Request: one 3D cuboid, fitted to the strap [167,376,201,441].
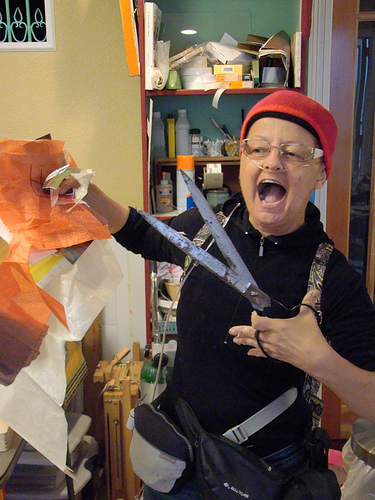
[{"bbox_3d":[-0.009,0.382,1.056,0.058,0.089,0.059,-4,16,-23],"label":"strap"}]

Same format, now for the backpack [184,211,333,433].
[{"bbox_3d":[0.155,0.171,0.966,0.116,0.496,0.368,-10,14,-40],"label":"backpack"}]

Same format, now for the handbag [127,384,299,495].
[{"bbox_3d":[0.048,0.396,1.048,0.364,0.153,0.217,-29,8,-4],"label":"handbag"}]

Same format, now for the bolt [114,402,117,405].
[{"bbox_3d":[-0.298,0.634,1.827,0.013,0.014,0.013,5,-7,-33],"label":"bolt"}]

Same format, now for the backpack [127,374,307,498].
[{"bbox_3d":[0.065,0.372,1.053,0.419,0.186,0.277,-26,-10,-16],"label":"backpack"}]

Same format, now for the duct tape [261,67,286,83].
[{"bbox_3d":[0.407,-0.824,2.070,0.107,0.072,0.027,3,8,8],"label":"duct tape"}]

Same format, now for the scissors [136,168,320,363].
[{"bbox_3d":[0.102,0.055,0.888,0.324,0.410,0.275,4,9,18],"label":"scissors"}]

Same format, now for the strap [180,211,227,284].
[{"bbox_3d":[0.041,-0.031,1.187,0.057,0.019,0.356,21,34,3],"label":"strap"}]

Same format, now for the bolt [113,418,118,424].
[{"bbox_3d":[-0.300,0.718,1.848,0.014,0.019,0.008,-5,4,1],"label":"bolt"}]
